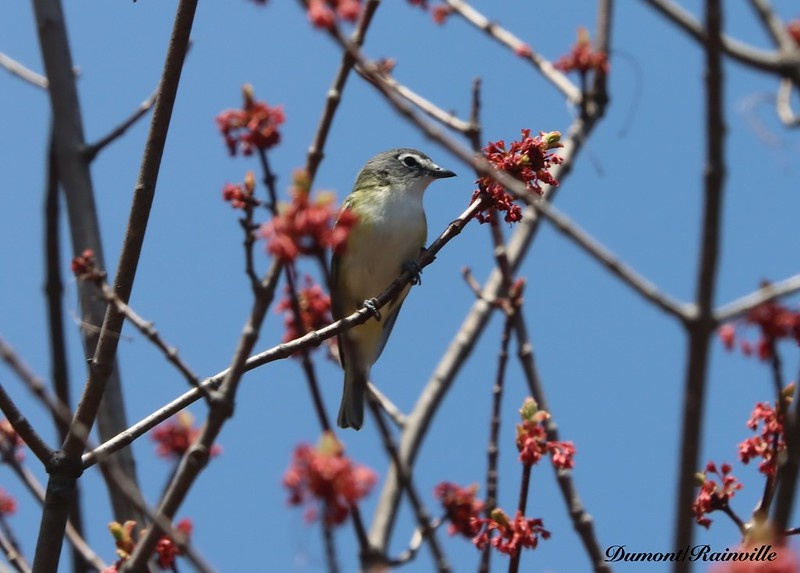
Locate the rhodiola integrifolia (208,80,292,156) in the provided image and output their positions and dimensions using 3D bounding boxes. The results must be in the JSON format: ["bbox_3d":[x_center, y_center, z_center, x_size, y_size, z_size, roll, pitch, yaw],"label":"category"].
[{"bbox_3d":[-0.677,-0.716,6.370,0.248,0.217,0.304,35,-67,-22],"label":"rhodiola integrifolia"}]

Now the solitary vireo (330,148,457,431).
[{"bbox_3d":[-0.205,-0.097,8.804,0.727,0.791,1.822,9,-87,-28],"label":"solitary vireo"}]
